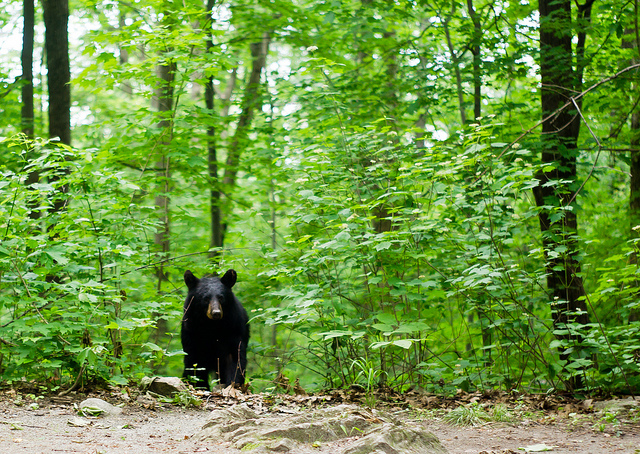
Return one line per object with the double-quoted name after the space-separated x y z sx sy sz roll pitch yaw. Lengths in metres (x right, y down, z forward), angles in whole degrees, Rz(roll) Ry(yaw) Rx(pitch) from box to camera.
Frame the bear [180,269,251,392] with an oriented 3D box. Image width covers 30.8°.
-1.816 1.838 19.976 0.939 2.431 1.429 2 41 -4 "bear"
